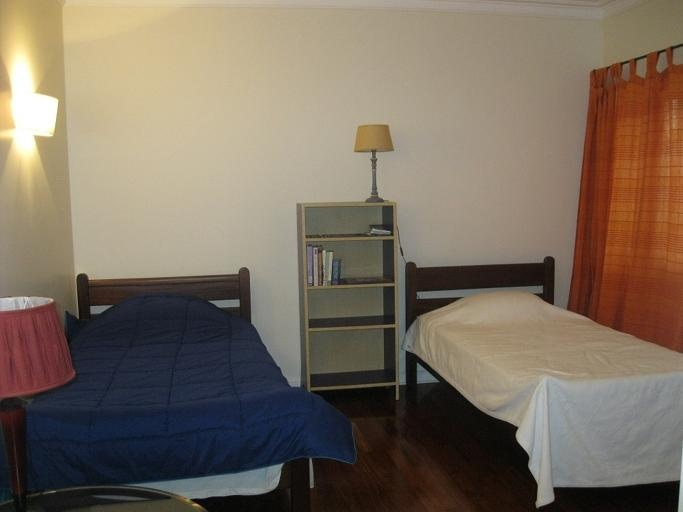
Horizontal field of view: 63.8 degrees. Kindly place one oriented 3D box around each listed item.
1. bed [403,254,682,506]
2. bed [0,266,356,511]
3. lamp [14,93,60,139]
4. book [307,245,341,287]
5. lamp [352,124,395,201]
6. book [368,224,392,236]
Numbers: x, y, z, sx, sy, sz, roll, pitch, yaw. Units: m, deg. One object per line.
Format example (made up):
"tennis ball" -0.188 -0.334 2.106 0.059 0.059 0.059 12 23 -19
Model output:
"bed" 1.307 0.744 4.055 1.108 1.077 1.735 -3 16 -13
"bed" -1.083 0.810 3.405 1.202 0.607 1.370 -2 9 -18
"lamp" -2.096 -0.956 3.785 0.221 0.210 0.261 1 1 -8
"book" -0.143 0.102 4.595 0.373 0.409 0.284 0 -1 13
"lamp" 0.269 -0.775 4.603 0.305 0.637 0.356 0 12 3
"book" 0.322 -0.212 4.598 0.205 0.082 0.120 1 12 9
